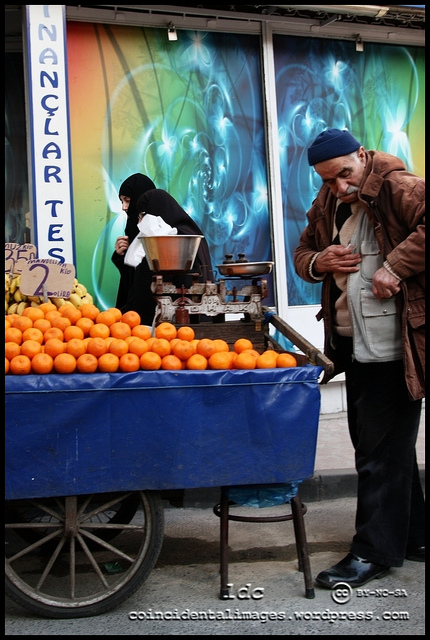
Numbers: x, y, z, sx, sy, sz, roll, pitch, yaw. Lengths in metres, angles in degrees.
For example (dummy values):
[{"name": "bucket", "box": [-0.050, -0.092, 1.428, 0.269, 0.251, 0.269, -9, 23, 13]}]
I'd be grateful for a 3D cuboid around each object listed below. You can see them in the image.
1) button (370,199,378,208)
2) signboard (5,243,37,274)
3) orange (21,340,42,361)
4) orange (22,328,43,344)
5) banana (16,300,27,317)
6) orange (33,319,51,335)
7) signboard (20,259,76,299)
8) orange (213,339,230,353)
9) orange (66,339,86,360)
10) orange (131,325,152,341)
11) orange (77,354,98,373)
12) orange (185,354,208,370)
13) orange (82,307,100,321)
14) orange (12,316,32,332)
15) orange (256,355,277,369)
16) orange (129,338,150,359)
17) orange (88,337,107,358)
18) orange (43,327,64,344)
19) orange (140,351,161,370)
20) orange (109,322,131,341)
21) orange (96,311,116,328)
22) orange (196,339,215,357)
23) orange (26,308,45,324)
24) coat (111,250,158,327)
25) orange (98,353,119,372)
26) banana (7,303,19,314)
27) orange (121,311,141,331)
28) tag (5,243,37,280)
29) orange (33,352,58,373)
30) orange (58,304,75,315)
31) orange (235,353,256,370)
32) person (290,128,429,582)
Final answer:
[{"name": "button", "box": [0.697, -0.510, 2.411, 0.027, 0.025, 0.006, -20, -10, 13]}, {"name": "signboard", "box": [-0.987, -0.309, 2.789, 0.176, 0.167, 0.023, -5, -20, 16]}, {"name": "orange", "box": [-0.733, 0.116, 2.201, 0.078, 0.071, 0.074, -6, 17, -20]}, {"name": "orange", "box": [-0.752, 0.062, 2.268, 0.070, 0.066, 0.065, 8, -13, -14]}, {"name": "banana", "box": [-1.019, -0.058, 2.895, 0.050, 0.029, 0.087, -1, 46, 16]}, {"name": "orange", "box": [-0.747, 0.027, 2.376, 0.058, 0.051, 0.058, -5, -7, 27]}, {"name": "signboard", "box": [-0.832, -0.204, 2.725, 0.261, 0.211, 0.027, 2, -21, -6]}, {"name": "orange", "box": [0.027, 0.114, 2.413, 0.052, 0.046, 0.051, 24, 52, 12]}, {"name": "orange", "box": [-0.548, 0.118, 2.237, 0.075, 0.087, 0.072, -1, 44, -4]}, {"name": "orange", "box": [-0.322, 0.051, 2.455, 0.067, 0.065, 0.066, -21, 11, 7]}, {"name": "orange", "box": [-0.503, 0.171, 2.156, 0.074, 0.068, 0.070, -15, 46, -32]}, {"name": "orange", "box": [-0.077, 0.180, 2.276, 0.065, 0.059, 0.062, -7, 30, -5]}, {"name": "orange", "box": [-0.591, -0.026, 2.597, 0.065, 0.058, 0.062, 5, 2, -4]}, {"name": "orange", "box": [-0.827, 0.017, 2.375, 0.069, 0.065, 0.064, -16, -32, 5]}, {"name": "orange", "box": [0.217, 0.178, 2.349, 0.057, 0.050, 0.055, -6, -3, 2]}, {"name": "orange", "box": [-0.311, 0.116, 2.263, 0.080, 0.069, 0.074, 1, -1, -2]}, {"name": "orange", "box": [-0.475, 0.110, 2.227, 0.077, 0.071, 0.073, 16, 23, -24]}, {"name": "orange", "box": [-0.677, 0.069, 2.310, 0.063, 0.059, 0.061, -2, -1, 9]}, {"name": "orange", "box": [-0.260, 0.162, 2.217, 0.072, 0.063, 0.068, -5, 5, -18]}, {"name": "orange", "box": [-0.416, 0.046, 2.411, 0.076, 0.072, 0.072, 9, -36, -8]}, {"name": "orange", "box": [-0.496, -0.007, 2.507, 0.072, 0.066, 0.065, -34, 53, -25]}, {"name": "orange", "box": [-0.046, 0.122, 2.369, 0.073, 0.067, 0.070, -4, 4, -23]}, {"name": "orange", "box": [-0.804, -0.020, 2.451, 0.062, 0.069, 0.062, 0, 0, -37]}, {"name": "coat", "box": [-0.536, -0.218, 3.691, 0.305, 0.620, 0.332, -7, 16, -43]}, {"name": "orange", "box": [-0.423, 0.163, 2.213, 0.072, 0.067, 0.069, -14, 22, -21]}, {"name": "banana", "box": [-1.123, -0.064, 3.055, 0.042, 0.077, 0.025, 49, 1, 42]}, {"name": "orange", "box": [-0.387, 0.003, 2.630, 0.083, 0.089, 0.079, 1, 15, 6]}, {"name": "tag", "box": [-0.987, -0.296, 2.791, 0.233, 0.220, 0.031, -5, -7, 18]}, {"name": "orange", "box": [-0.659, 0.158, 2.138, 0.082, 0.073, 0.079, -7, 11, -33]}, {"name": "orange", "box": [-0.731, -0.052, 2.699, 0.053, 0.060, 0.051, -11, 17, -20]}, {"name": "orange", "box": [0.122, 0.179, 2.373, 0.068, 0.067, 0.070, -29, -14, 37]}, {"name": "person", "box": [0.683, 0.186, 2.617, 0.548, 2.062, 0.769, -1, -4, 8]}]
